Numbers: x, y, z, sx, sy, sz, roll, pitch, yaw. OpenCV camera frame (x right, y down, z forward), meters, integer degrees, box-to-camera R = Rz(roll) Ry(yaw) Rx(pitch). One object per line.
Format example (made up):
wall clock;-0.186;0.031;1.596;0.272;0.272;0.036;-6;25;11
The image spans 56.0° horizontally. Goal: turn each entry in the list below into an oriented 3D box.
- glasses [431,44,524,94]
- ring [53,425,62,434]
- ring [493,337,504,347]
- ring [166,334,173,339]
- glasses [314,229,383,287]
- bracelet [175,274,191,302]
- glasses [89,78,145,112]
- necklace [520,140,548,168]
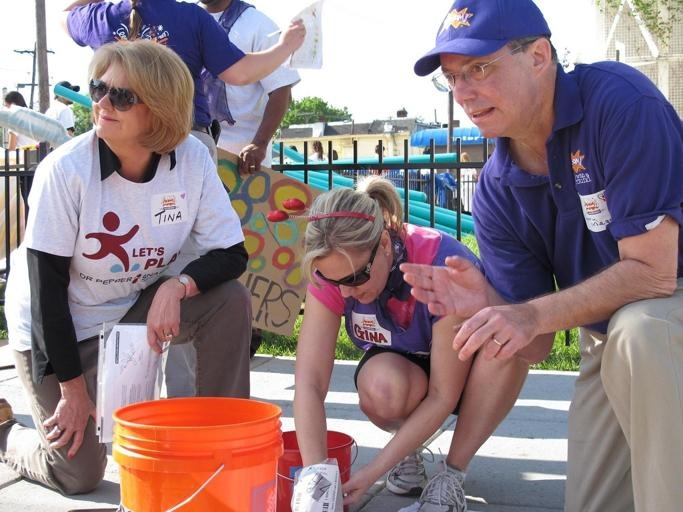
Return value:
glasses;0.508;-0.739;2.577;0.202;0.167;0.406;-3;4;-41
ring;-1.208;0.715;2.682;0.023;0.036;0.033;-10;3;-9
ring;0.541;0.298;2.231;0.025;0.006;0.025;43;-4;4
ring;-0.753;0.340;2.747;0.016;0.020;0.038;1;3;16
glasses;0.011;0.032;2.661;0.271;0.183;0.101;0;3;2
bracelet;-0.737;0.141;2.855;0.055;0.096;0.088;-23;-21;-45
glasses;-0.952;-0.652;2.673;0.142;0.065;0.153;23;-9;7
necklace;0.790;-0.415;2.652;0.095;0.087;0.098;-5;8;-17
